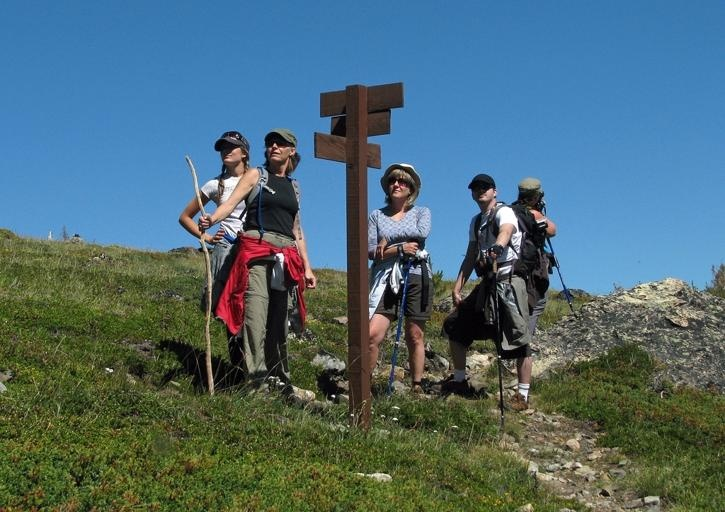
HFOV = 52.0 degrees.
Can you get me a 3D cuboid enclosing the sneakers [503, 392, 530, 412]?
[{"bbox_3d":[2.743,2.611,13.190,0.349,0.313,0.155,2,-47,-10],"label":"sneakers"}]
